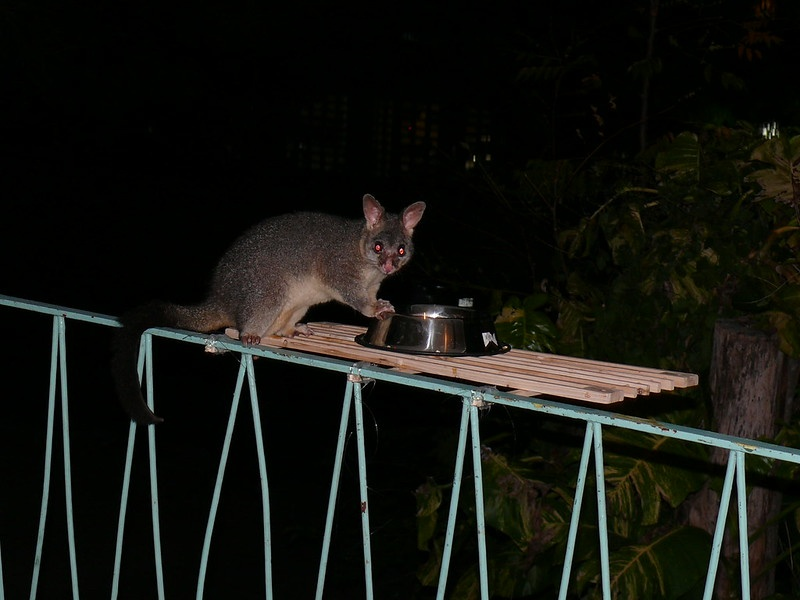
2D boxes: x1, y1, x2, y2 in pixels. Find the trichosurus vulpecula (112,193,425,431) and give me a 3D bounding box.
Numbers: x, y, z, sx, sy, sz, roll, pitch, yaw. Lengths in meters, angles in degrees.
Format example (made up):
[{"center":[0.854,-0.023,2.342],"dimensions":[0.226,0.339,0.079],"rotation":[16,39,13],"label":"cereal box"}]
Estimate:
[{"center":[-0.601,0.028,5.134],"dimensions":[1.317,0.549,1.096],"rotation":[-16,30,10],"label":"trichosurus vulpecula"}]
